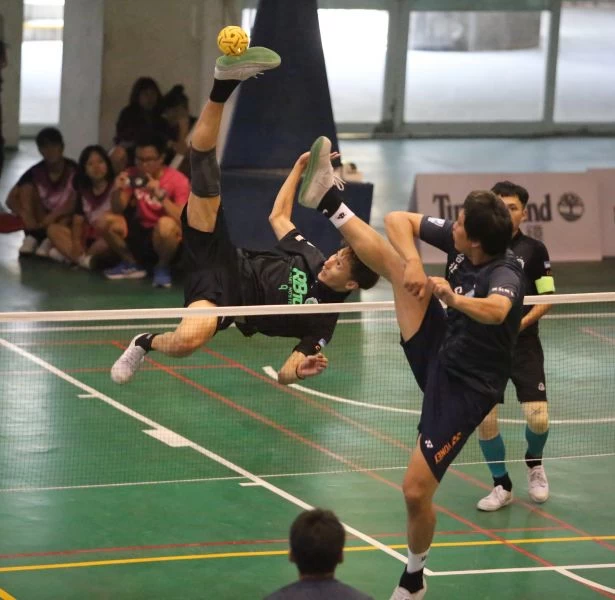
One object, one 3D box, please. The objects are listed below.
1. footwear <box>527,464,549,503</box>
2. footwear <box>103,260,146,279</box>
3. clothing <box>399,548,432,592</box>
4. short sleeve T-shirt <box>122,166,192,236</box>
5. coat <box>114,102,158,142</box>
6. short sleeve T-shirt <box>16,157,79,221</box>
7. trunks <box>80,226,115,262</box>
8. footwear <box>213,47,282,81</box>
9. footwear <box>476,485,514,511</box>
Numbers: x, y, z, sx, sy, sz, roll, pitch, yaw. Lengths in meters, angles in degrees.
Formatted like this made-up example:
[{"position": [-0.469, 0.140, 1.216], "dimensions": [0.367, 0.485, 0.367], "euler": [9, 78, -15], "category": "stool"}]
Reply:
[{"position": [1.835, 1.460, 5.550], "dimensions": [0.123, 0.331, 0.144], "euler": [-5, -40, 5], "category": "footwear"}, {"position": [-2.980, -0.490, 11.450], "dimensions": [0.655, 0.299, 0.256], "euler": [2, 0, -9], "category": "footwear"}, {"position": [0.551, 1.384, 3.631], "dimensions": [0.122, 0.259, 0.150], "euler": [6, 14, 10], "category": "clothing"}, {"position": [-2.312, -1.489, 11.283], "dimensions": [0.995, 1.201, 0.883], "euler": [-1, 10, 45], "category": "short sleeve T-shirt"}, {"position": [-2.788, -2.922, 11.545], "dimensions": [0.673, 0.629, 0.363], "euler": [4, -16, 2], "category": "coat"}, {"position": [-4.267, -1.815, 11.777], "dimensions": [1.187, 1.084, 0.560], "euler": [-4, 5, -9], "category": "short sleeve T-shirt"}, {"position": [-3.540, -0.903, 11.772], "dimensions": [0.460, 0.645, 0.287], "euler": [-7, 0, 32], "category": "trunks"}, {"position": [-0.391, -1.544, 4.612], "dimensions": [0.409, 0.163, 0.226], "euler": [0, 7, 3], "category": "footwear"}, {"position": [1.449, 1.537, 5.450], "dimensions": [0.350, 0.141, 0.125], "euler": [-10, 12, -39], "category": "footwear"}]
